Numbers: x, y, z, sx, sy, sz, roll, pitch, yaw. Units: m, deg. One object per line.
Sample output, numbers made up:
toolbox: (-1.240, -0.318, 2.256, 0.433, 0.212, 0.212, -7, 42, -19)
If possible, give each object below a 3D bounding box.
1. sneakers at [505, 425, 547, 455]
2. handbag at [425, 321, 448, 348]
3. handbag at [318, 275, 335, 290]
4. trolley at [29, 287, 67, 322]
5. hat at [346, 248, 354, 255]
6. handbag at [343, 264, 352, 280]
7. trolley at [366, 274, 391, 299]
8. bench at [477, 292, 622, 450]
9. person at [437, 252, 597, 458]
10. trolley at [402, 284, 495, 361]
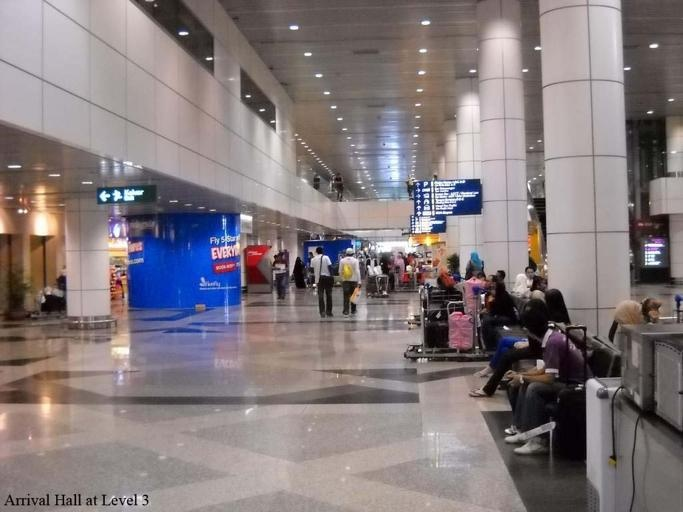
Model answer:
sneakers: (1.807, 1.779, 5.489, 0.514, 0.235, 0.170, 5, 0, -13)
handbag: (1.682, 1.388, 10.316, 0.358, 0.528, 0.522, 1, 0, -11)
handbag: (-0.434, 0.778, 16.494, 0.487, 0.480, 0.299, 5, 32, 0)
trolley: (-9.824, 1.536, 18.895, 1.242, 1.060, 1.214, 4, -1, 31)
hat: (0.249, -0.117, 16.771, 0.210, 0.129, 0.312, 1, 3, -2)
handbag: (0.161, 0.472, 16.448, 0.273, 0.477, 0.211, -1, 0, -3)
trolley: (1.591, 1.313, 24.679, 0.959, 1.105, 0.786, -2, -2, 5)
bench: (2.152, 1.376, 6.471, 1.324, 2.132, 0.964, 2, -11, 9)
person: (1.997, 1.445, 6.445, 1.158, 2.048, 0.973, 1, -11, 8)
trolley: (1.980, 1.269, 10.567, 1.271, 1.335, 1.383, 2, -2, 1)
